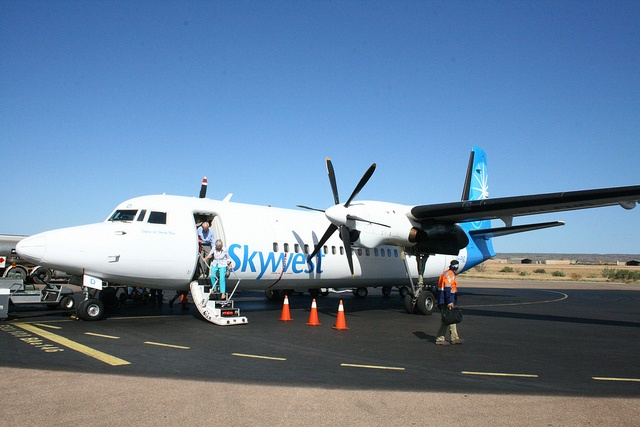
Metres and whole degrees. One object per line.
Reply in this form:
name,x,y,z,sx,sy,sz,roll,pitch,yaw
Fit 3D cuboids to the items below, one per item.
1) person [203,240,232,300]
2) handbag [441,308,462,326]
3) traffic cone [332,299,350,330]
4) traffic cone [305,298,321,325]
person,-3.431,1.873,14.742,0.880,2.061,1.160,-1,-11,-14
handbag,3.526,2.760,11.682,0.476,0.458,0.361,1,-11,-24
traffic cone,0.766,3.405,14.670,0.823,0.984,0.781,-2,-6,25
traffic cone,-0.163,3.463,15.262,0.782,0.914,0.722,-1,-4,6
